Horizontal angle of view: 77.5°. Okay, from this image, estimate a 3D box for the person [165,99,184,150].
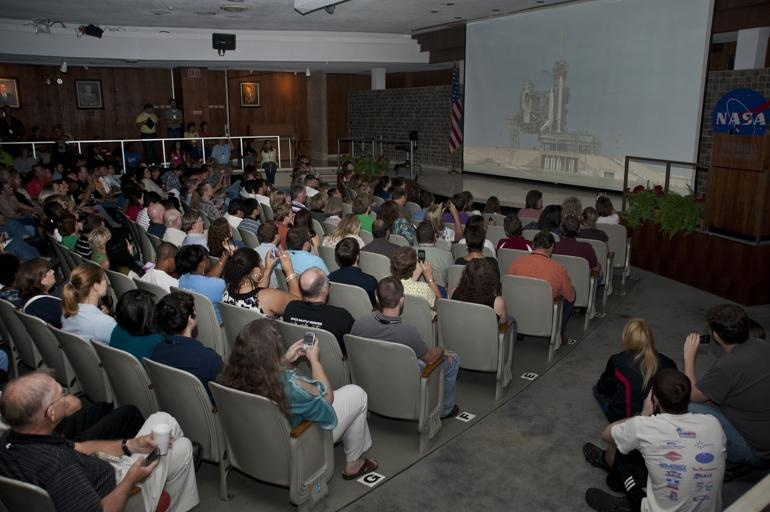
[{"bbox_3d":[-6.743,-4.260,15.476,0.532,1.513,1.041,-6,15,-24],"label":"person"}]

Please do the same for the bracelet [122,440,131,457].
[{"bbox_3d":[-1.646,1.214,3.062,0.036,0.097,0.094,-1,9,-30],"label":"bracelet"}]

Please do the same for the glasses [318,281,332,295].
[{"bbox_3d":[-0.495,0.231,3.960,0.079,0.109,0.153,16,-23,5],"label":"glasses"}]

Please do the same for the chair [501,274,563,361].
[{"bbox_3d":[1.539,0.526,5.189,0.665,0.982,0.683,6,22,25],"label":"chair"}]

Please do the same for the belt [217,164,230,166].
[{"bbox_3d":[-4.779,-2.680,14.245,0.319,0.083,0.327,-4,9,-25],"label":"belt"}]

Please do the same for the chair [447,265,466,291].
[{"bbox_3d":[0.752,0.230,5.270,0.188,0.338,0.249,8,24,20],"label":"chair"}]

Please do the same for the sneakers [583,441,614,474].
[{"bbox_3d":[1.686,1.568,3.826,0.104,0.104,0.250,-13,30,-30],"label":"sneakers"}]

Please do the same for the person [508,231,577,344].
[{"bbox_3d":[1.740,0.322,5.377,0.748,1.252,0.685,15,39,36],"label":"person"}]

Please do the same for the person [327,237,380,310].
[{"bbox_3d":[-0.348,0.224,4.875,0.564,0.851,0.449,3,26,16],"label":"person"}]

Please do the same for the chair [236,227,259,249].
[{"bbox_3d":[-1.858,-0.256,6.537,0.213,0.325,0.224,21,29,38],"label":"chair"}]

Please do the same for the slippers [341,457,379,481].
[{"bbox_3d":[-0.196,1.624,3.738,0.256,0.099,0.121,-10,14,-40],"label":"slippers"}]

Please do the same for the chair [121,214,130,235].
[{"bbox_3d":[-4.685,-0.591,8.693,0.209,0.309,0.223,-6,25,-32],"label":"chair"}]

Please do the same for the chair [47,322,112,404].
[{"bbox_3d":[-2.436,0.935,3.840,0.335,0.453,0.343,20,6,-21],"label":"chair"}]

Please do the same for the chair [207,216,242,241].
[{"bbox_3d":[-2.036,-0.355,6.162,0.236,0.378,0.272,19,39,16],"label":"chair"}]

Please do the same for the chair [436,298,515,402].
[{"bbox_3d":[0.838,0.775,4.615,0.719,0.992,0.700,6,18,30],"label":"chair"}]

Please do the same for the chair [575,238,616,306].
[{"bbox_3d":[2.615,0.194,6.038,0.563,0.889,0.645,7,27,25],"label":"chair"}]

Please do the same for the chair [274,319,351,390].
[{"bbox_3d":[-0.471,0.929,3.985,0.461,0.573,0.459,-18,-24,23],"label":"chair"}]

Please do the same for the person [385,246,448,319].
[{"bbox_3d":[0.290,0.254,4.554,0.391,0.956,0.524,-2,44,23],"label":"person"}]

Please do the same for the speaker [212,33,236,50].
[{"bbox_3d":[-4.526,-6.029,13.613,0.508,0.530,0.137,1,4,-7],"label":"speaker"}]

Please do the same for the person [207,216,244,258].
[{"bbox_3d":[-1.899,-0.219,5.740,0.265,0.362,0.766,13,-26,-7],"label":"person"}]

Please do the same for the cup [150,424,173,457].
[{"bbox_3d":[-1.340,1.090,2.931,0.150,0.183,0.157,0,2,0],"label":"cup"}]

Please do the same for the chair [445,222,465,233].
[{"bbox_3d":[1.002,-0.408,6.927,0.168,0.209,0.234,2,-6,24],"label":"chair"}]

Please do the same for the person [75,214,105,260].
[{"bbox_3d":[-3.631,-0.222,5.911,0.236,0.738,0.275,21,31,6],"label":"person"}]

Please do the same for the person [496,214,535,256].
[{"bbox_3d":[1.599,-0.250,6.072,0.553,0.753,0.416,-1,50,18],"label":"person"}]

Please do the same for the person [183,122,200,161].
[{"bbox_3d":[-6.000,-3.476,15.001,0.340,1.329,0.370,-7,12,-23],"label":"person"}]

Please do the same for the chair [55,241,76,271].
[{"bbox_3d":[-4.224,-0.024,6.374,0.219,0.357,0.240,-16,33,-41],"label":"chair"}]

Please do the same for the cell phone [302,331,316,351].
[{"bbox_3d":[-0.528,0.589,3.337,0.101,0.203,0.025,-1,-14,8],"label":"cell phone"}]

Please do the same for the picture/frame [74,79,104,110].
[{"bbox_3d":[-10.483,-5.721,16.950,0.960,1.204,0.083,-7,5,-33],"label":"picture/frame"}]

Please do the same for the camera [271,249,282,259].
[{"bbox_3d":[-1.163,-0.043,5.027,0.105,0.096,0.154,17,-3,-37],"label":"camera"}]

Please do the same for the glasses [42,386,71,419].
[{"bbox_3d":[-1.884,0.833,2.762,0.036,0.140,0.131,26,-5,-26],"label":"glasses"}]

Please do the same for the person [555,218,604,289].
[{"bbox_3d":[2.326,-0.021,5.814,0.587,0.873,0.473,11,33,26],"label":"person"}]

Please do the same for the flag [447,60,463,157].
[{"bbox_3d":[2.120,-4.316,14.333,0.373,2.473,0.696,1,13,6],"label":"flag"}]

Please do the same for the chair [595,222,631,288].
[{"bbox_3d":[3.539,0.042,7.088,0.638,0.869,0.626,4,-3,-32],"label":"chair"}]

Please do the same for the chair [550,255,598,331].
[{"bbox_3d":[2.288,0.365,5.884,0.594,0.844,0.614,4,9,27],"label":"chair"}]

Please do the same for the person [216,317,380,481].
[{"bbox_3d":[-0.565,1.057,3.380,1.065,1.385,0.403,-8,15,-30],"label":"person"}]

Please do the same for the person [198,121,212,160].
[{"bbox_3d":[-5.654,-3.658,15.099,0.318,1.147,1.617,-5,15,-20],"label":"person"}]

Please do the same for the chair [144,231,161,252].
[{"bbox_3d":[-3.305,-0.224,6.847,0.189,0.259,0.202,27,33,35],"label":"chair"}]

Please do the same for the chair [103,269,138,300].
[{"bbox_3d":[-2.655,0.267,4.829,0.213,0.304,0.213,16,23,26],"label":"chair"}]

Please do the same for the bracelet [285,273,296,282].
[{"bbox_3d":[-0.908,0.197,4.636,0.067,0.019,0.069,-31,28,-5],"label":"bracelet"}]

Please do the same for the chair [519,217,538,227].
[{"bbox_3d":[2.155,-0.523,7.247,0.211,0.139,0.302,0,10,-2],"label":"chair"}]

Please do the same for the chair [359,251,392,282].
[{"bbox_3d":[-0.123,0.093,5.548,0.307,0.429,0.338,13,22,28],"label":"chair"}]

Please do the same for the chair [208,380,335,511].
[{"bbox_3d":[-0.761,1.258,3.262,0.679,0.883,0.612,11,21,32],"label":"chair"}]

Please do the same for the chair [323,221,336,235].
[{"bbox_3d":[-0.824,-0.418,7.053,0.204,0.192,0.217,0,2,-31],"label":"chair"}]

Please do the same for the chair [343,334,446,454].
[{"bbox_3d":[0.093,1.090,4.011,0.712,0.925,0.641,1,5,28],"label":"chair"}]

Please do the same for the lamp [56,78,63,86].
[{"bbox_3d":[-11.212,-6.016,16.568,0.052,0.203,0.185,11,18,41],"label":"lamp"}]
